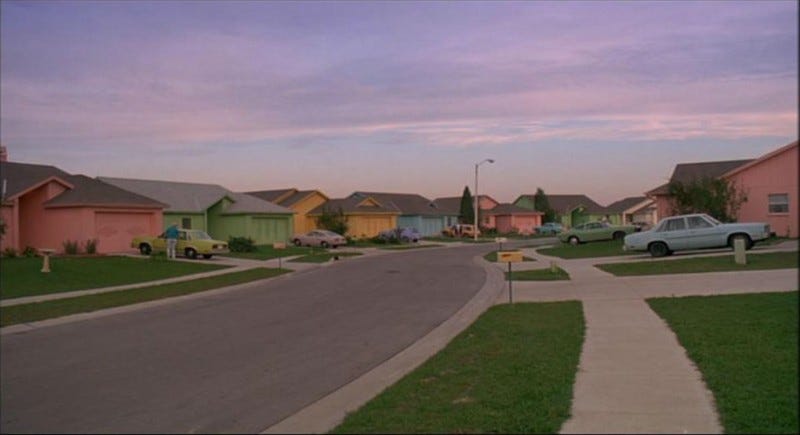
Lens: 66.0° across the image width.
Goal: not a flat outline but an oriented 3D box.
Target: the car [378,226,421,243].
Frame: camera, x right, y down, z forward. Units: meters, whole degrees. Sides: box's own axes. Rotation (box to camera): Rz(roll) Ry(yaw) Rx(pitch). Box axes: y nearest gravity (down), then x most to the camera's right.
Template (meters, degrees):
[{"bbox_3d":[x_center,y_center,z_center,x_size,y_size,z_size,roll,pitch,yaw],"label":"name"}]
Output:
[{"bbox_3d":[0.121,1.569,54.822,2.693,0.846,1.670,3,-1,7],"label":"car"}]

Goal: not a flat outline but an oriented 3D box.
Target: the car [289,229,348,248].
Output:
[{"bbox_3d":[-6.140,1.664,46.993,3.917,0.981,1.572,2,-1,27],"label":"car"}]

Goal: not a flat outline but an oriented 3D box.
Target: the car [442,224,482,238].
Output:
[{"bbox_3d":[6.282,1.402,63.315,3.475,1.030,1.546,3,1,37],"label":"car"}]

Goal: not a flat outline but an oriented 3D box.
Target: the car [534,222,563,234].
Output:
[{"bbox_3d":[17.088,1.301,70.131,1.261,0.820,2.860,0,1,-40],"label":"car"}]

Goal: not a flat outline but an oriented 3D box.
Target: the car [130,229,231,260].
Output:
[{"bbox_3d":[-13.170,1.668,36.975,5.696,1.749,1.211,-3,-2,16],"label":"car"}]
